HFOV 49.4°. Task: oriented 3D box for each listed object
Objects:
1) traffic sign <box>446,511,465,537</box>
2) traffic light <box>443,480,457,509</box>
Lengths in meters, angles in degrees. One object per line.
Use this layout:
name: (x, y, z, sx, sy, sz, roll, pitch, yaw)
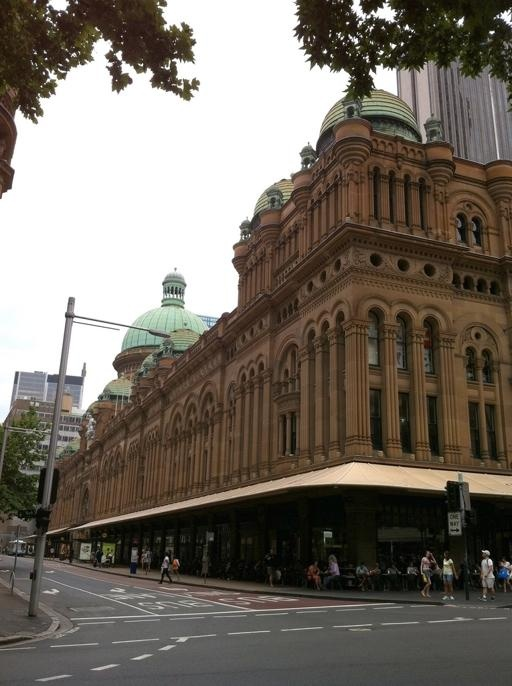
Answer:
traffic sign: (7.172, 6.444, 20.048, 0.449, 0.756, 0.542, -3, -24, 12)
traffic light: (7.034, 5.433, 19.851, 0.430, 0.963, 0.563, -4, -24, 13)
